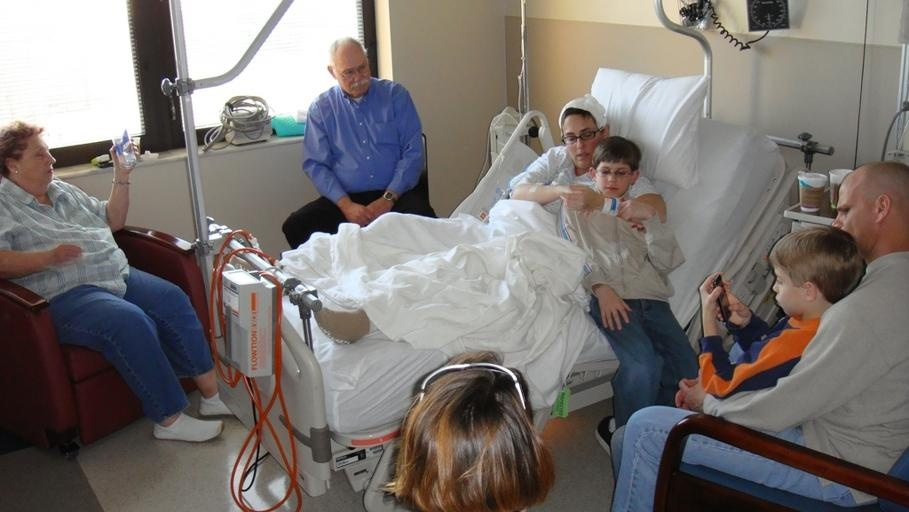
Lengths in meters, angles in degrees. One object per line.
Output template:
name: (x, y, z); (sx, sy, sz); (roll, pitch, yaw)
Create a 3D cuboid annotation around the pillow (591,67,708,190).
pillow: (1.133, -0.757, 3.439); (0.701, 0.682, 0.229); (10, 0, 42)

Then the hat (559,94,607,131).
hat: (0.761, -0.809, 3.488); (0.216, 0.133, 0.243); (-3, 11, 8)

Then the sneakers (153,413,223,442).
sneakers: (-1.456, 0.956, 3.389); (0.401, 0.143, 0.143); (-1, 21, -2)

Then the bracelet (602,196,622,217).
bracelet: (0.814, -0.254, 3.136); (0.079, 0.050, 0.100); (-5, 38, 20)

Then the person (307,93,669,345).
person: (-0.022, -0.244, 3.550); (2.021, 1.210, 1.091); (-25, 47, -24)

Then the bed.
bed: (0.240, 0.416, 2.858); (1.861, 1.026, 1.113); (-19, 9, 19)

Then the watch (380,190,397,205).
watch: (-0.447, -0.403, 4.169); (0.115, 0.104, 0.075); (3, 38, -15)

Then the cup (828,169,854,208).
cup: (2.021, -0.347, 3.156); (0.136, 0.163, 0.142); (-1, 7, 0)

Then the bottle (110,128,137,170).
bottle: (-1.774, -0.552, 3.307); (0.107, 0.170, 0.098); (-28, -4, -2)

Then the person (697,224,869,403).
person: (1.362, 0.302, 2.610); (0.672, 0.852, 0.580); (8, 24, 41)

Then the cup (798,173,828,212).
cup: (1.901, -0.328, 3.221); (0.146, 0.166, 0.148); (-2, 12, 0)

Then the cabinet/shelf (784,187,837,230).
cabinet/shelf: (1.845, -0.244, 3.156); (0.181, 0.077, 0.270); (17, 34, 37)
